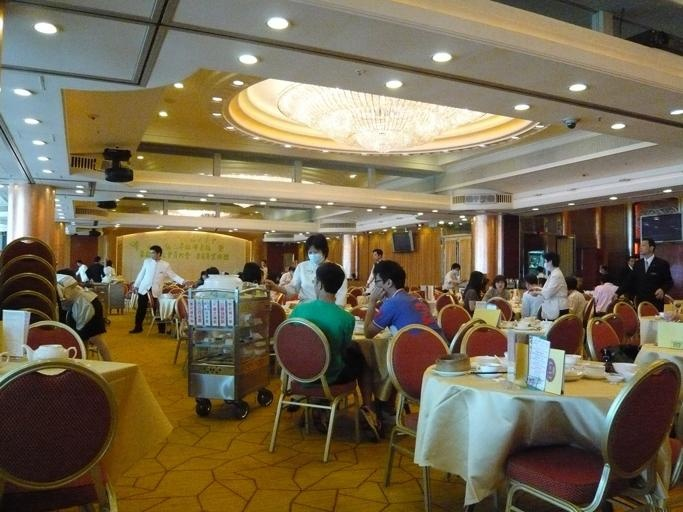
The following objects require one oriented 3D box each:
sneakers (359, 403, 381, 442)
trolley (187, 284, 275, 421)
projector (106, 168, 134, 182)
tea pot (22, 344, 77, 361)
[{"bbox_3d":[0.211,1.402,4.289,0.176,0.165,0.516,8,1,-9],"label":"sneakers"},{"bbox_3d":[-1.077,0.910,4.972,0.691,1.137,0.729,-1,-4,8],"label":"trolley"},{"bbox_3d":[-3.519,-1.272,8.124,0.294,0.127,0.288,-2,-3,-1],"label":"projector"},{"bbox_3d":[-1.638,0.541,2.861,0.246,0.121,0.162,0,-3,-2],"label":"tea pot"}]
